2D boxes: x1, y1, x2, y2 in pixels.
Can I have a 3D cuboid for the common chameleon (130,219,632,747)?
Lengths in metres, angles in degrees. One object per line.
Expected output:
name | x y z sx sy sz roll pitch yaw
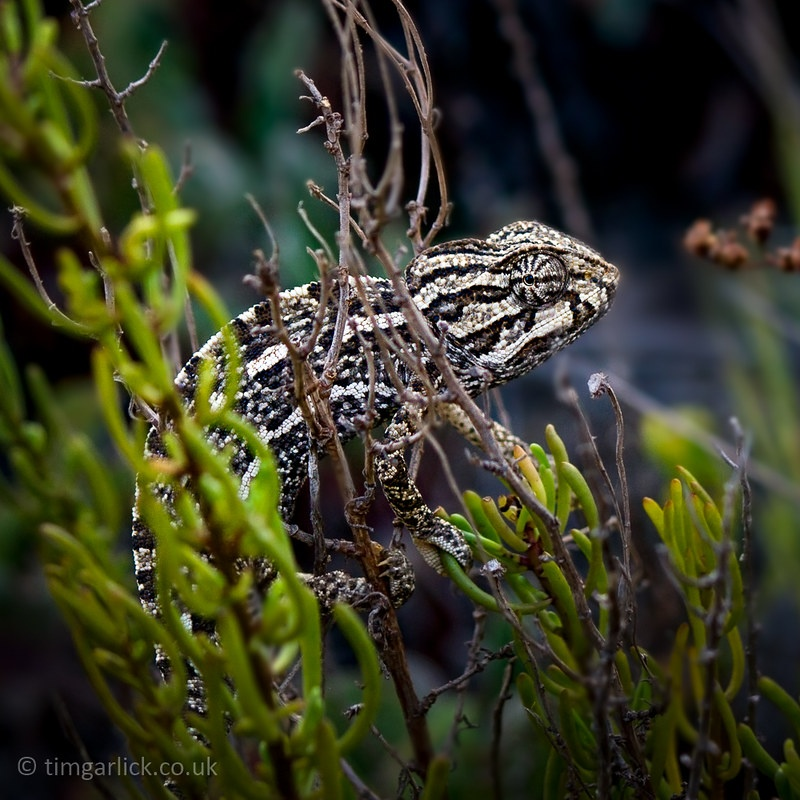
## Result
common chameleon | -0.120 -0.074 1.902 1.042 0.396 0.498 -17 -16 17
